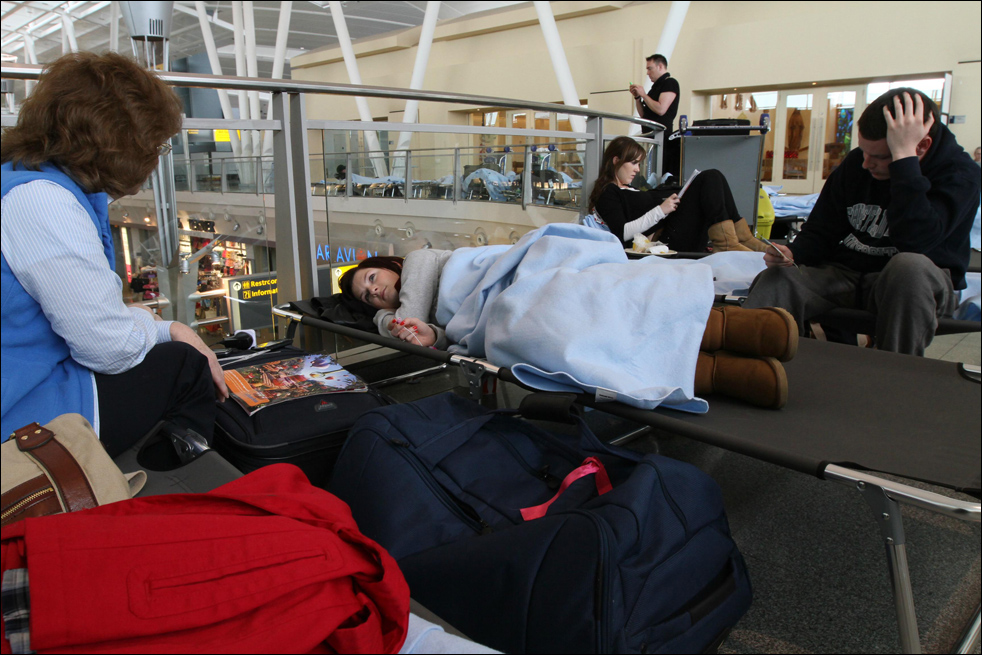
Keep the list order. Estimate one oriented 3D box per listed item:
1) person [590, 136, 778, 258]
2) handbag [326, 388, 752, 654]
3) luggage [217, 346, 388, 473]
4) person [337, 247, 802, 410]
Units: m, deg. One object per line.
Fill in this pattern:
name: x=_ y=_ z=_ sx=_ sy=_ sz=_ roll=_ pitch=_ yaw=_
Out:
person: x=1.160 y=-0.801 z=3.952 sx=1.076 sy=0.733 sz=0.477 roll=0 pitch=24 yaw=20
handbag: x=0.071 y=0.468 z=1.571 sx=0.836 sy=0.342 sz=0.602 roll=11 pitch=17 yaw=40
luggage: x=-0.671 y=0.242 z=2.188 sx=0.534 sy=0.171 sz=0.631 roll=-12 pitch=31 yaw=-26
person: x=0.335 y=0.044 z=2.097 sx=1.072 sy=0.219 sz=0.658 roll=18 pitch=43 yaw=28
